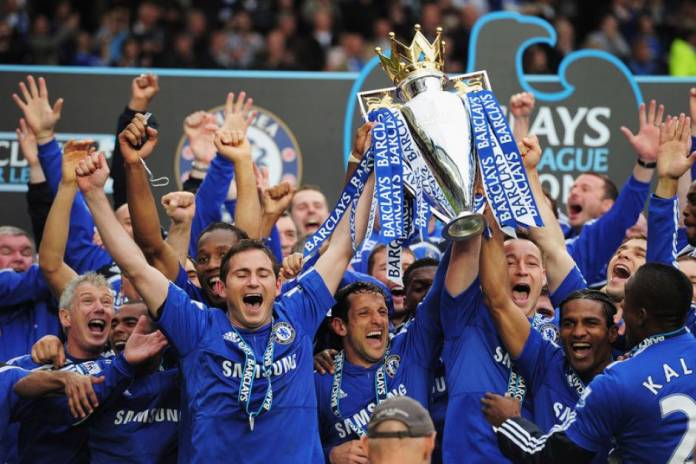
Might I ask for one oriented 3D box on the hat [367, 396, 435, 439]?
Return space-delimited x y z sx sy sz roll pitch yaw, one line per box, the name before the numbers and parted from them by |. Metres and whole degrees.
hat | 0.497 1.702 11.800 0.343 0.297 0.497 -4 -8 34
